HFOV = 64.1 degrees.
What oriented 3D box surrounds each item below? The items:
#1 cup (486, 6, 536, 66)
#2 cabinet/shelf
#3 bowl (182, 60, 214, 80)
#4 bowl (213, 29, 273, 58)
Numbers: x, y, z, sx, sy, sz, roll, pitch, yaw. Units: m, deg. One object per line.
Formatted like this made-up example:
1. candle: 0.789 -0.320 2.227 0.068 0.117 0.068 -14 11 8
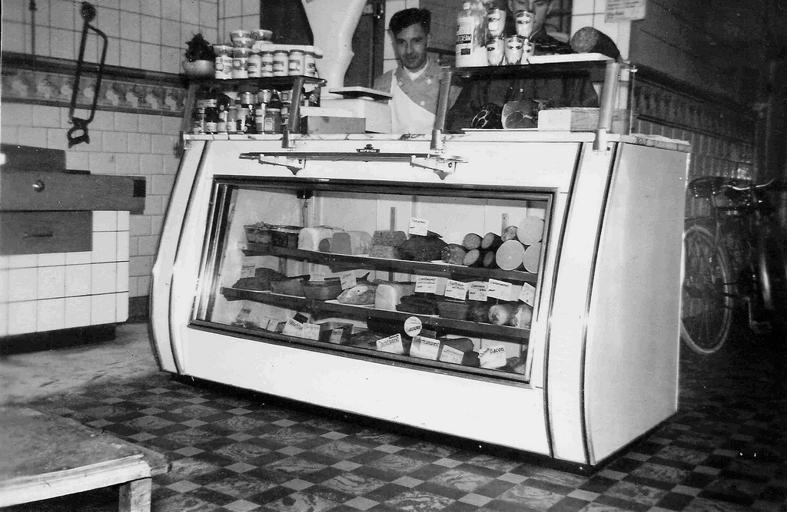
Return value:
1. cup: 0.791 -1.493 4.285 0.327 0.383 0.289 2 14 5
2. cabinet/shelf: 0.148 0.103 4.680 3.652 2.072 1.106 7 16 23
3. bowl: -2.090 -2.015 6.817 0.475 0.183 0.157 9 16 31
4. bowl: -1.322 -1.972 5.752 0.364 0.183 0.523 -2 2 37
